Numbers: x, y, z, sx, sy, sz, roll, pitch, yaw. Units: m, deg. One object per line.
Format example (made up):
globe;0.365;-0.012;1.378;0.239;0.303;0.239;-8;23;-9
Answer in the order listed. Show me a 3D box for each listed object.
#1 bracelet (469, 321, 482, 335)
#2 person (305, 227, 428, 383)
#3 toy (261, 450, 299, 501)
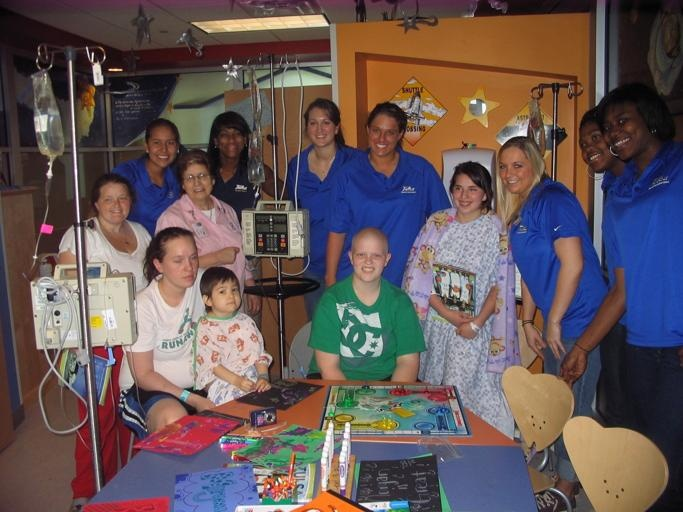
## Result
bracelet;0.820;0.446;3.461;0.019;0.070;0.051;-42;-4;-27
person;0.161;0.210;3.286;0.693;0.909;0.774;-2;21;-4
toy;-0.244;0.858;2.199;0.140;0.133;0.168;0;3;-7
